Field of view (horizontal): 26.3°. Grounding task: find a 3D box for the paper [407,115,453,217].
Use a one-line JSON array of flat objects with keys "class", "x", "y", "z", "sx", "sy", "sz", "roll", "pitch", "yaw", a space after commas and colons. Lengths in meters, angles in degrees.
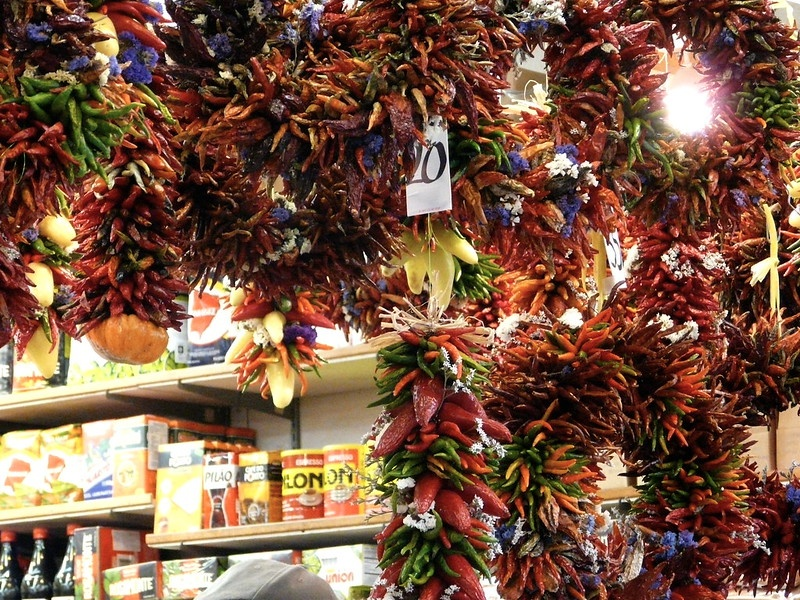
[{"class": "paper", "x": 0.049, "y": -0.204, "z": 2.682, "sx": 0.063, "sy": 0.145, "sz": 0.072, "roll": -1, "pitch": -4, "yaw": -26}]
